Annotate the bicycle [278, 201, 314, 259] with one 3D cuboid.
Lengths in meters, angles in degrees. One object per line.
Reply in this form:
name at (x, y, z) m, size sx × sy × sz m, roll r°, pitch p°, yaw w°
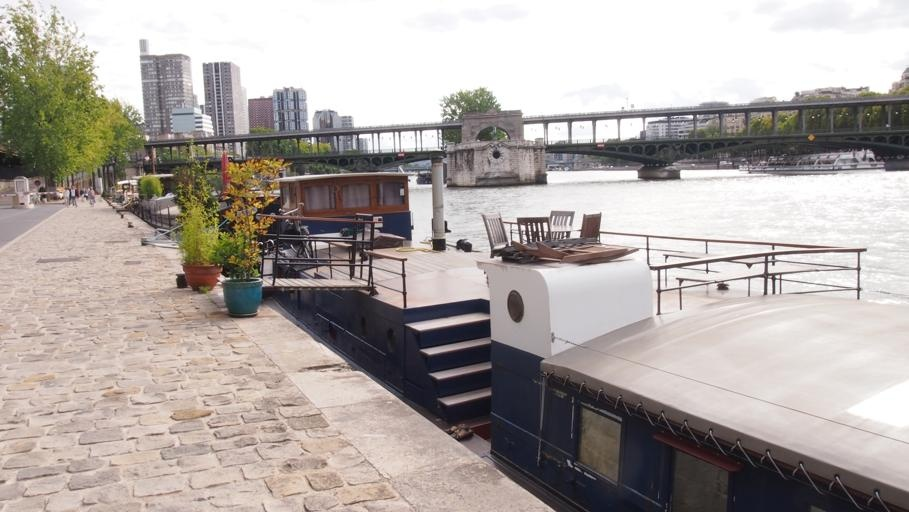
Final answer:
bicycle at (-4.561, -0.845, 18.333) m, size 0.563 × 0.629 × 1.204 m, roll -13°, pitch -11°, yaw 9°
